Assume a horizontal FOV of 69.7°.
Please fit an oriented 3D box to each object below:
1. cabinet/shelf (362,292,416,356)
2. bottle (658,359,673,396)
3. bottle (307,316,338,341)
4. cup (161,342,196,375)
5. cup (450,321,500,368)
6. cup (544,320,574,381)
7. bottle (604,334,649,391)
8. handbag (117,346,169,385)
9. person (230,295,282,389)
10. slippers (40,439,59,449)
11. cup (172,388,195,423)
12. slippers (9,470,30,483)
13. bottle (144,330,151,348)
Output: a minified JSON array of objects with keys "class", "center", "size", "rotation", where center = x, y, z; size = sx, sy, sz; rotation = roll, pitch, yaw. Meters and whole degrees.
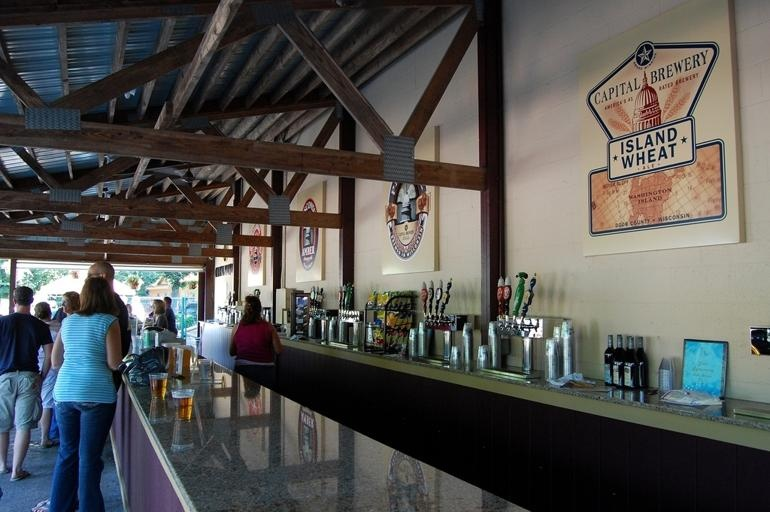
[{"class":"cabinet/shelf","center":[0.165,0.833,6.986],"size":[0.390,0.667,0.507],"rotation":[1,0,-5]},{"class":"bottle","center":[2.279,0.974,4.495],"size":[0.116,0.262,0.260],"rotation":[-2,-5,26]},{"class":"bottle","center":[-0.958,1.107,8.354],"size":[0.353,0.477,0.498],"rotation":[2,-3,-29]},{"class":"cup","center":[-1.649,0.817,4.477],"size":[0.231,0.308,0.244],"rotation":[2,3,0]},{"class":"cup","center":[0.912,0.887,5.649],"size":[0.439,0.565,0.451],"rotation":[1,-3,0]},{"class":"cup","center":[1.575,0.845,5.025],"size":[0.320,0.517,0.206],"rotation":[4,-6,-42]},{"class":"bottle","center":[2.069,0.893,4.706],"size":[0.390,0.437,0.303],"rotation":[0,-5,5]},{"class":"handbag","center":[-1.983,0.919,4.635],"size":[0.394,0.345,0.181],"rotation":[-13,37,-36]},{"class":"person","center":[-1.498,0.972,6.347],"size":[0.588,1.020,0.459],"rotation":[1,-5,-9]},{"class":"slippers","center":[-3.985,2.243,6.572],"size":[0.091,0.065,0.232],"rotation":[2,-2,11]},{"class":"cup","center":[-1.195,0.884,3.280],"size":[0.158,0.183,0.157],"rotation":[-1,-13,0]},{"class":"slippers","center":[-3.686,2.232,5.587],"size":[0.075,0.059,0.146],"rotation":[1,4,16]},{"class":"bottle","center":[-2.556,0.895,5.962],"size":[0.093,0.177,0.272],"rotation":[2,-5,-24]}]
